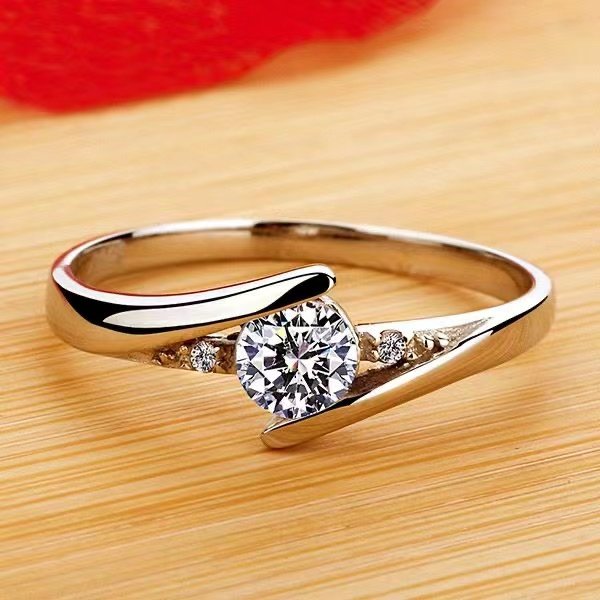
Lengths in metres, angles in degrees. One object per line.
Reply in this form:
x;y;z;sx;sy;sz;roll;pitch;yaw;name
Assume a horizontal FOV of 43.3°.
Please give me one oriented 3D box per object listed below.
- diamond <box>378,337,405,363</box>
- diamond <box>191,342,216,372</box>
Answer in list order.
0.127;0.070;1.049;0.041;0.018;0.037;0;22;5;diamond
-0.130;0.081;1.038;0.039;0.062;0.021;0;43;-2;diamond
